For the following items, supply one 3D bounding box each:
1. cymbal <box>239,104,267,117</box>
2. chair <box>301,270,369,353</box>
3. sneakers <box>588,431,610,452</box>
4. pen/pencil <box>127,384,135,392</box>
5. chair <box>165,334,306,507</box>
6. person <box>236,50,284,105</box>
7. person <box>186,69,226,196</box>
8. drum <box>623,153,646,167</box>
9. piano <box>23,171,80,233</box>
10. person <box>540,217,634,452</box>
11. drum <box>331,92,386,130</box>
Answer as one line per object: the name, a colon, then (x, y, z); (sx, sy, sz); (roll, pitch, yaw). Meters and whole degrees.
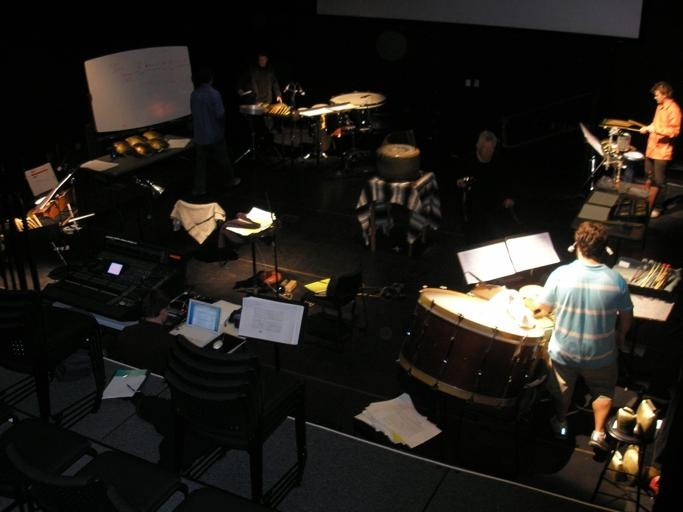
cymbal: (-1.659, -2.766, 10.441); (0.506, 0.189, 0.351); (-5, 24, -9)
chair: (-0.119, 0.504, 6.469); (0.685, 0.857, 0.827); (-2, 24, -4)
sneakers: (2.294, 1.612, 4.923); (0.116, 0.136, 0.305); (11, 17, 41)
pen/pencil: (-1.798, 1.126, 4.720); (0.026, 0.014, 0.107); (-36, 43, -28)
chair: (-0.740, 1.198, 3.815); (0.733, 1.135, 0.778); (18, 43, 19)
person: (-1.711, -3.668, 11.452); (0.829, 0.972, 0.997); (-5, 24, -9)
person: (-2.321, -2.121, 9.453); (0.721, 2.090, 0.401); (-12, 27, -24)
drum: (3.845, -1.292, 7.295); (0.225, 0.150, 0.347); (13, 27, 29)
piano: (-3.834, -0.708, 7.254); (0.902, 0.370, 0.664); (-39, 15, -24)
person: (2.053, 0.899, 4.859); (0.760, 1.742, 0.521); (11, 27, 24)
drum: (0.288, -2.948, 11.063); (1.042, 0.506, 1.388); (5, 24, 13)
